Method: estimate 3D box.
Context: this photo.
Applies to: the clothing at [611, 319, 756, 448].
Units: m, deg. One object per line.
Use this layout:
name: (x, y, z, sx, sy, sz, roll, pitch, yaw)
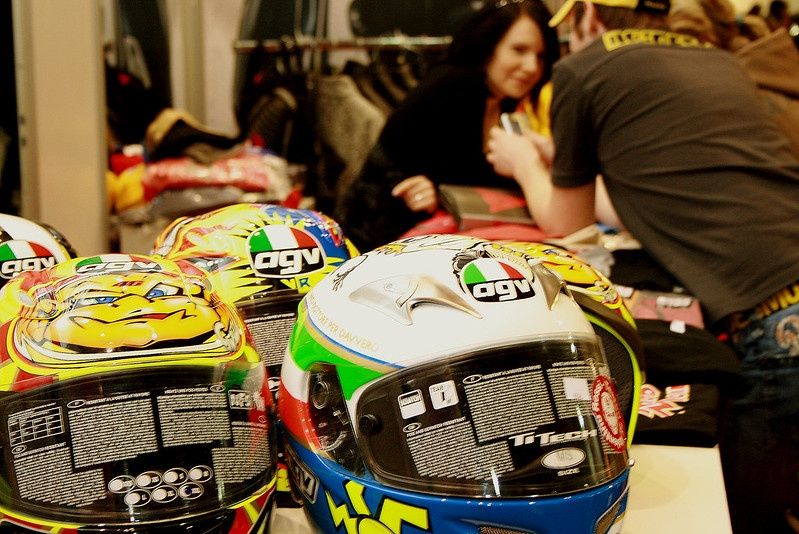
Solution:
clothing: (0.635, 0.270, 1.574, 0.272, 0.244, 0.080, -5, 31, -38)
